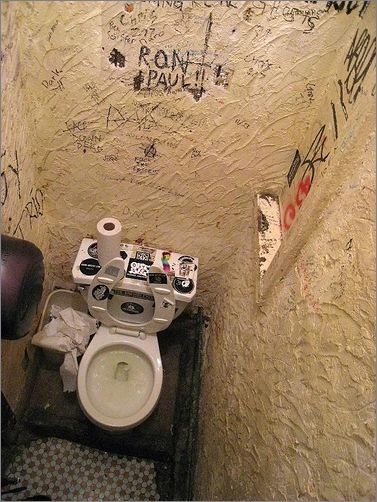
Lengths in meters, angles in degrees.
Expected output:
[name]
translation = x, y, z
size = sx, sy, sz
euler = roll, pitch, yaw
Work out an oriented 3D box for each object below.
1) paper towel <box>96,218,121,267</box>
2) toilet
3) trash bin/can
[paper towel]
translation = -0.310, -0.011, 1.437
size = 0.090, 0.221, 0.115
euler = 6, 44, -10
[toilet]
translation = -0.274, 0.445, 1.600
size = 0.496, 0.665, 0.680
euler = 9, 41, -10
[trash bin/can]
translation = -0.580, 0.382, 1.745
size = 0.288, 0.159, 0.437
euler = 11, 44, -8
